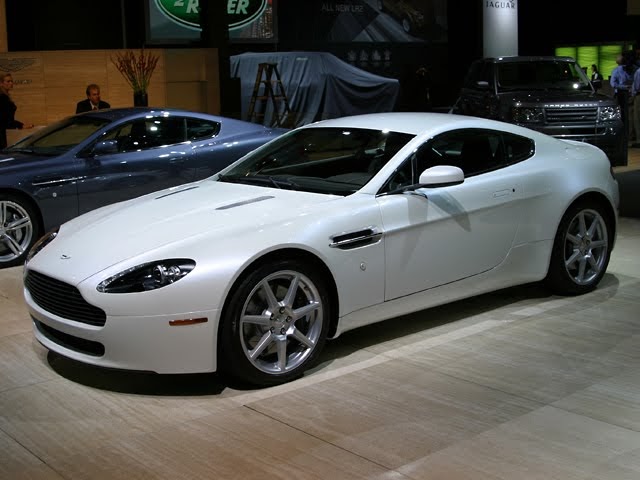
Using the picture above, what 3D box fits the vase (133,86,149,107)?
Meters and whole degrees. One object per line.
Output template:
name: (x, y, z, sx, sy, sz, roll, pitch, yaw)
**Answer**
vase: (-4.763, -3.782, 12.289, 0.311, 0.469, 0.403, -6, 10, -22)
